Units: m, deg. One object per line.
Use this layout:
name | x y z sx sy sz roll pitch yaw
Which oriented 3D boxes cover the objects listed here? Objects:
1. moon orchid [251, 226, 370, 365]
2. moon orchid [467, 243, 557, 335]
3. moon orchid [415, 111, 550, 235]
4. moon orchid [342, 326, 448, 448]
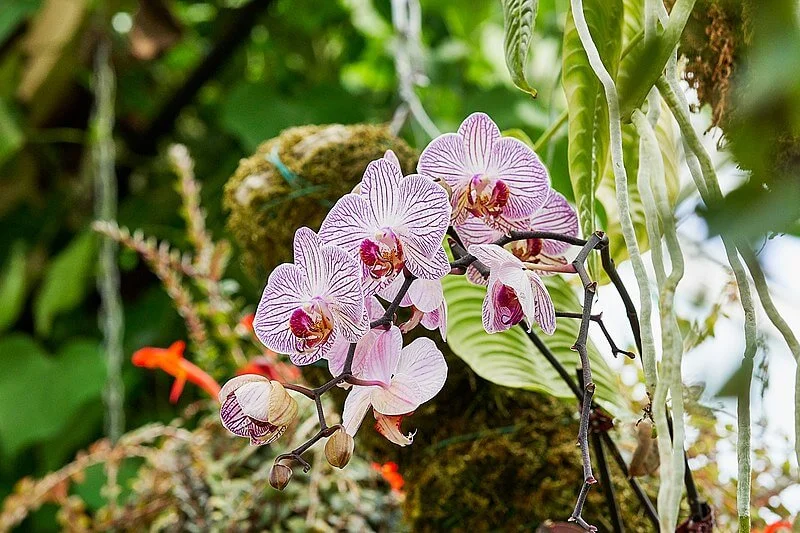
moon orchid | -0.127 0.064 1.478 0.173 0.187 0.074 31 -9 8
moon orchid | 0.149 0.027 1.485 0.127 0.074 0.135 -2 56 -34
moon orchid | 0.137 -0.145 1.514 0.210 0.096 0.212 -15 33 -32
moon orchid | -0.017 0.174 1.476 0.147 0.080 0.155 -22 17 17
